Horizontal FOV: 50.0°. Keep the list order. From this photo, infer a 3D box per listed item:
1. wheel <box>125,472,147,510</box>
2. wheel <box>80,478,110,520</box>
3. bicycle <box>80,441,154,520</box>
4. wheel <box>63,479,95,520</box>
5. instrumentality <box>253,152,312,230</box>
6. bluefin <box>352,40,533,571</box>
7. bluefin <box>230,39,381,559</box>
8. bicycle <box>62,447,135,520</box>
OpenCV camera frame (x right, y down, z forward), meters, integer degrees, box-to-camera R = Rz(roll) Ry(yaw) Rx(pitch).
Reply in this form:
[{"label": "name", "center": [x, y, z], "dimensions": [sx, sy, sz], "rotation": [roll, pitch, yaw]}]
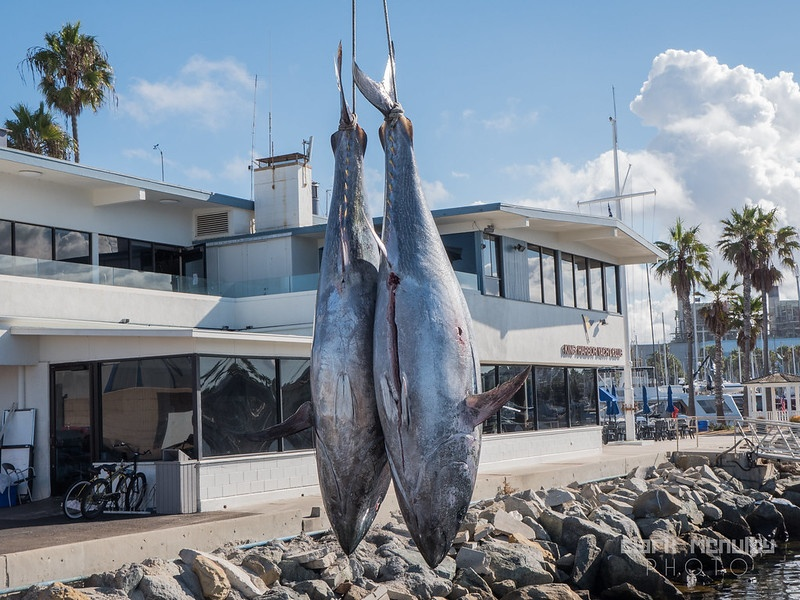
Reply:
[{"label": "wheel", "center": [-5.710, 4.106, 18.424], "dimensions": [0.093, 0.597, 0.583], "rotation": [0, -27, 19]}, {"label": "wheel", "center": [-6.389, 4.152, 17.911], "dimensions": [0.165, 0.668, 0.633], "rotation": [-1, 8, 31]}, {"label": "bicycle", "center": [-6.011, 3.883, 18.412], "dimensions": [1.982, 1.336, 0.942], "rotation": [-10, -19, 28]}, {"label": "wheel", "center": [-6.762, 4.123, 17.811], "dimensions": [0.532, 0.721, 0.439], "rotation": [2, -1, 12]}, {"label": "instrumentality", "center": [-4.354, -3.897, 31.212], "dimensions": [1.893, 2.756, 1.688], "rotation": [-5, -1, 8]}, {"label": "bluefin", "center": [-0.018, 0.085, 10.970], "dimensions": [2.235, 6.070, 2.066], "rotation": [-9, -4, 8]}, {"label": "bluefin", "center": [-0.747, 0.202, 10.975], "dimensions": [2.427, 5.705, 1.619], "rotation": [-10, -13, 34]}, {"label": "bicycle", "center": [-6.075, 3.906, 18.405], "dimensions": [1.038, 1.429, 2.200], "rotation": [9, -2, 26]}]
